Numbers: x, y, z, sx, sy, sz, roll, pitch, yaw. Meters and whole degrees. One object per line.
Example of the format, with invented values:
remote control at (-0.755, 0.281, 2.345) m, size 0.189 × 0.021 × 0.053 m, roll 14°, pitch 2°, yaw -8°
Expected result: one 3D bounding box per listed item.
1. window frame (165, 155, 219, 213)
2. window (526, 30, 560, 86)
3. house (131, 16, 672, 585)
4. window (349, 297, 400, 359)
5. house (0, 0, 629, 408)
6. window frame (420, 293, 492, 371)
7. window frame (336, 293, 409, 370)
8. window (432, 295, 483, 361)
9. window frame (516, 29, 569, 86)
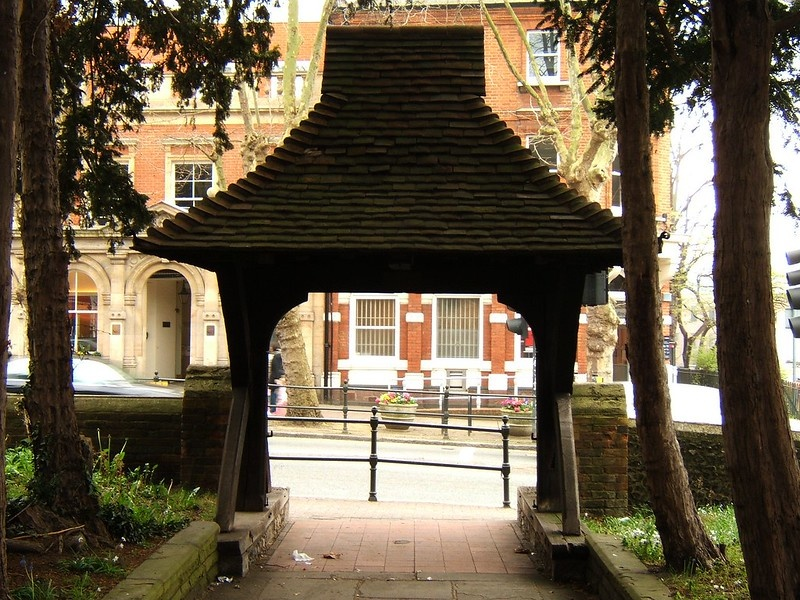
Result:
window frame at (-6.546, -3.900, 29.596) m, size 1.444 × 0.129 × 1.733 m, roll -19°, pitch -21°, yaw -21°
window at (4.362, -7.403, 28.123) m, size 0.944 × 1.765 × 0.173 m, roll 1°, pitch -17°, yaw 8°
house at (0.098, -0.336, 12.249) m, size 4.926 × 5.836 × 5.474 m, roll 0°, pitch -7°, yaw 1°
window at (-0.769, 0.870, 29.427) m, size 1.724 × 2.393 × 0.134 m, roll 0°, pitch -4°, yaw 1°
house at (-0.101, -1.239, 12.197) m, size 4.730 × 3.979 × 5.032 m, roll 0°, pitch -10°, yaw 1°
window frame at (1.756, 1.033, 28.818) m, size 2.055 × 2.811 × 0.145 m, roll 0°, pitch 1°, yaw 4°
window frame at (-0.827, 1.003, 29.072) m, size 2.066 × 2.498 × 0.193 m, roll 1°, pitch -5°, yaw 1°
window at (1.852, 0.902, 29.220) m, size 1.781 × 2.640 × 0.137 m, roll 0°, pitch -3°, yaw 1°
window frame at (4.276, -7.359, 28.069) m, size 0.948 × 1.830 × 0.190 m, roll 3°, pitch -22°, yaw 16°
